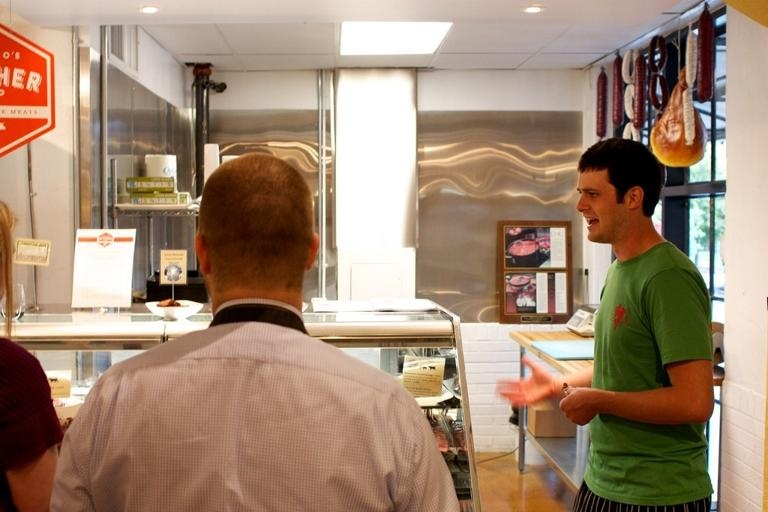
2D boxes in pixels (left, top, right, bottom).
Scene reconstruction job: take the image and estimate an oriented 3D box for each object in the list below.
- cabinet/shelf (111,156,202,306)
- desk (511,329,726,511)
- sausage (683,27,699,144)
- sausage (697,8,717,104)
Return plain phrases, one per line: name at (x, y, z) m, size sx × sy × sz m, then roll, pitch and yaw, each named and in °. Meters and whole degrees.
cabinet/shelf at (-1.637, -0.244, 4.730) m, size 0.458 × 0.782 × 0.467 m, roll 7°, pitch 6°, yaw -25°
desk at (1.604, 0.848, 5.159) m, size 1.023 × 1.292 × 1.924 m, roll 1°, pitch 1°, yaw -7°
sausage at (1.798, -0.990, 3.999) m, size 0.086 × 0.714 × 0.105 m, roll 6°, pitch 16°, yaw 41°
sausage at (1.862, -1.186, 3.904) m, size 0.097 × 0.400 × 0.198 m, roll -3°, pitch -2°, yaw 25°
